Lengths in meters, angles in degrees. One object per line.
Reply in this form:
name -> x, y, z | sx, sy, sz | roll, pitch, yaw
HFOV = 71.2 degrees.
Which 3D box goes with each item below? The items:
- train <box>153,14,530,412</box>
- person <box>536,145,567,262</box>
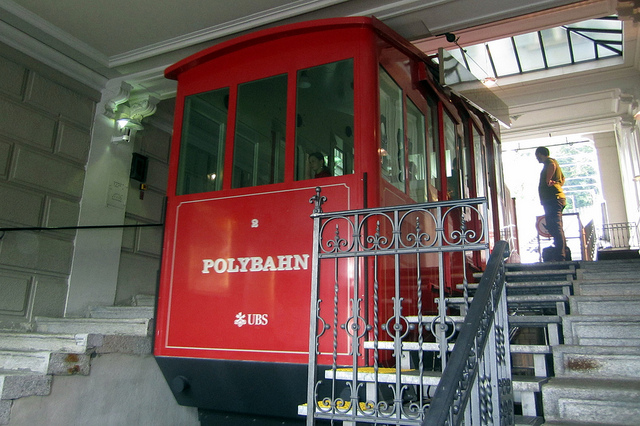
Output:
train -> 0.852, 0.361, 7.408 | 3.956, 4.718, 6.347 | -6, -11, 33
person -> 3.771, -0.204, 7.224 | 0.407, 1.940, 0.518 | -8, -10, 26
